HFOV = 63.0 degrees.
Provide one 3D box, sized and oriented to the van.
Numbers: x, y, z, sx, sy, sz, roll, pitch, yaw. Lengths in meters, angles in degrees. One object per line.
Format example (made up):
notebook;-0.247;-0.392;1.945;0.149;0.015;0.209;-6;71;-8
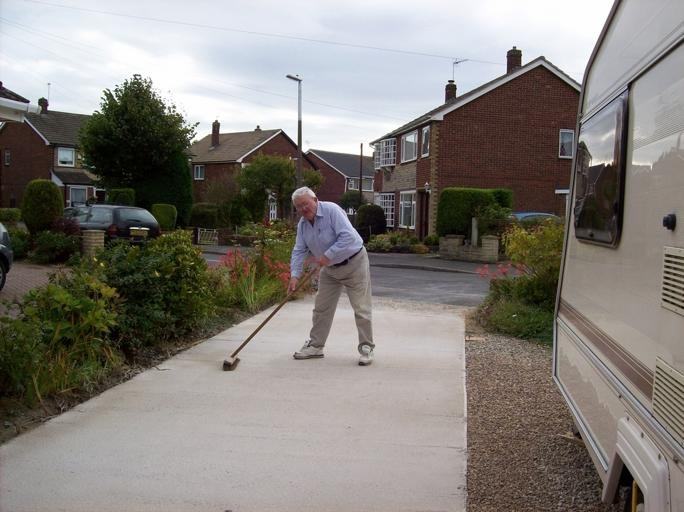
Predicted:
van;-6.383;-0.928;15.549;2.241;1.001;1.085;2;6;4

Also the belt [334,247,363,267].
belt;0.068;0.028;6.340;0.328;0.217;0.102;0;6;-13
